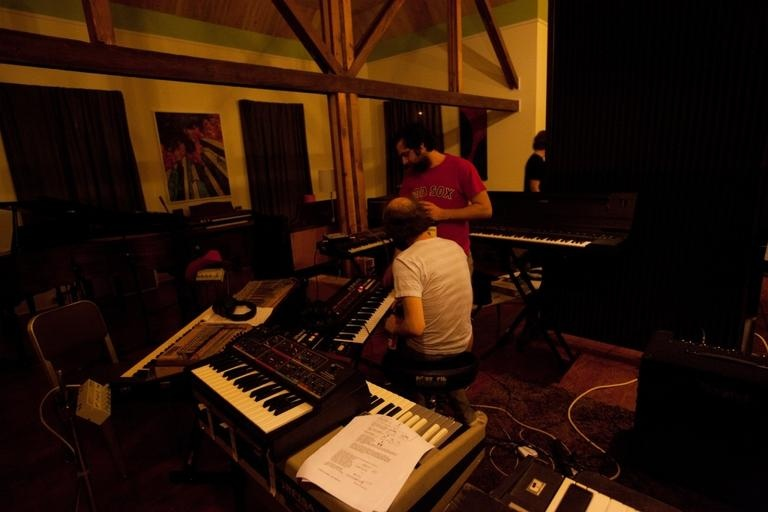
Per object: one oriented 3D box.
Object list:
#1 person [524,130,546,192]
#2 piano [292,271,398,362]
[{"bbox_3d":[1.843,-1.135,6.632,0.221,0.747,2.029,2,15,15],"label":"person"},{"bbox_3d":[-0.304,0.498,4.356,0.483,0.337,0.877,4,26,21],"label":"piano"}]
